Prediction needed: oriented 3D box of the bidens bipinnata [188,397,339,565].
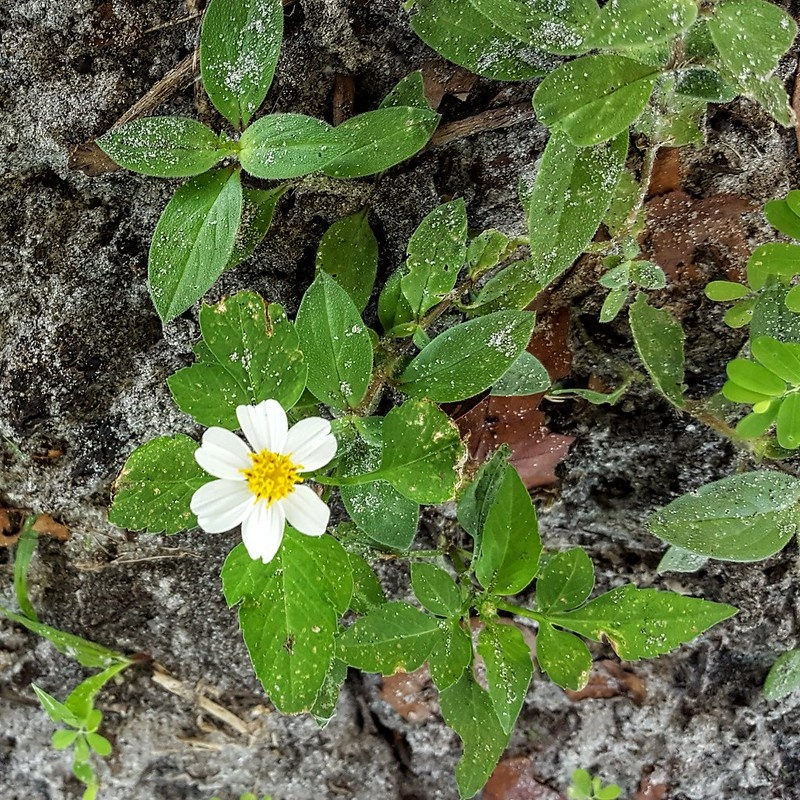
[{"bbox_3d":[-0.325,0.191,2.455,0.325,0.092,0.371,5,79,-1],"label":"bidens bipinnata"}]
